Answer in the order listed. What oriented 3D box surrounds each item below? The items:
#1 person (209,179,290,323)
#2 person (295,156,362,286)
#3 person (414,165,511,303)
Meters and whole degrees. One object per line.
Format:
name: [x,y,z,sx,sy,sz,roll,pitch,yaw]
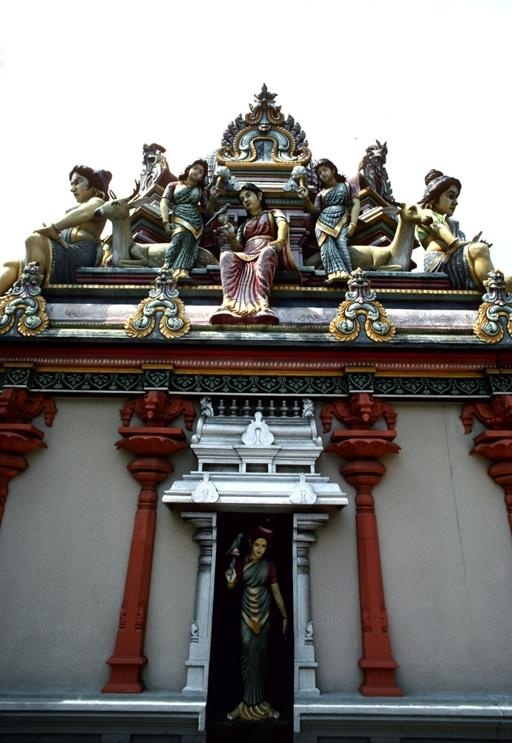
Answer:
person: [-0.030,-1.212,8.507,0.814,1.955,0.557,-1,-34,3]
person: [0.928,-1.716,9.334,0.615,1.971,0.823,-19,-38,26]
person: [2.388,-1.757,9.509,0.735,2.390,0.950,-8,-35,12]
